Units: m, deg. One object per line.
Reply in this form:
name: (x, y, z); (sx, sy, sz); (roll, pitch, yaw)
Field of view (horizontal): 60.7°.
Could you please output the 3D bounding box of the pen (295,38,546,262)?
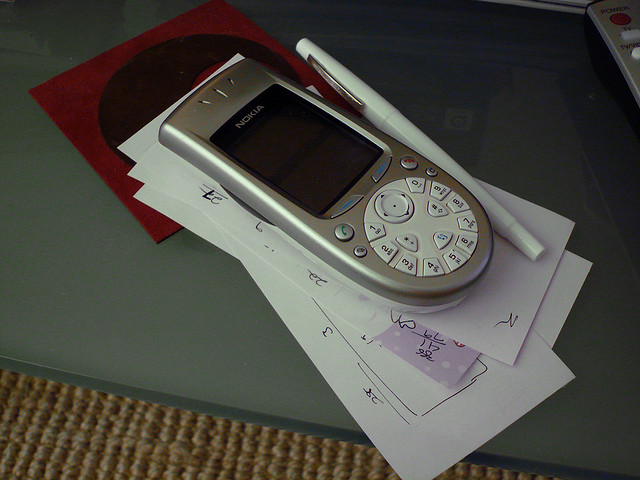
pen: (0.086, -0.072, 0.467); (0.314, 0.033, 0.037); (37, 44, 7)
